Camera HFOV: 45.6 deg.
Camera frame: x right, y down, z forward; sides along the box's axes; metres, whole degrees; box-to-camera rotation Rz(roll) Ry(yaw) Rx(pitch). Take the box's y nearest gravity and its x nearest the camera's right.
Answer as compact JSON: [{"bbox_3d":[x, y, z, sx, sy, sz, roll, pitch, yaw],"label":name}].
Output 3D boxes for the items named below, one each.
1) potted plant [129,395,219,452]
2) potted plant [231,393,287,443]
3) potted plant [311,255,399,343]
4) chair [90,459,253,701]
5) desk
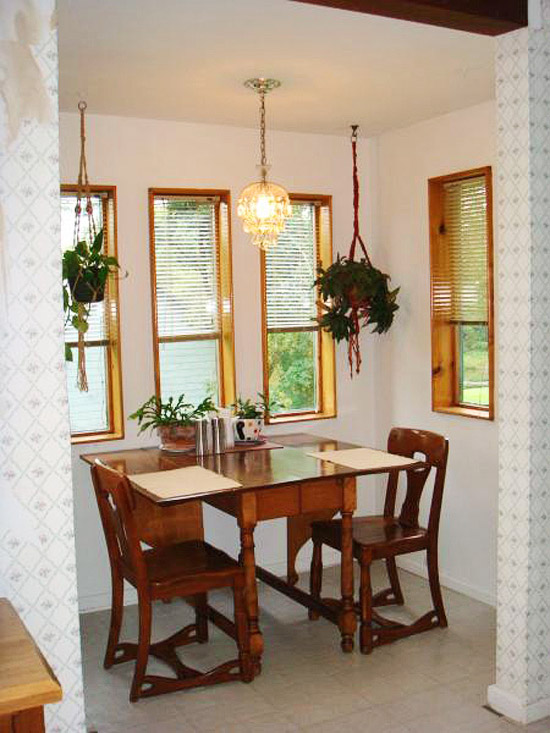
[{"bbox_3d":[-0.538,0.259,3.529,0.362,0.222,0.357,0,0,-42],"label":"potted plant"},{"bbox_3d":[-0.119,0.290,3.628,0.242,0.228,0.233,-5,-12,24],"label":"potted plant"},{"bbox_3d":[0.479,-0.406,4.011,0.571,0.522,0.538,-3,4,40],"label":"potted plant"},{"bbox_3d":[-0.457,0.864,2.807,0.620,0.979,0.735,-1,0,-21],"label":"chair"},{"bbox_3d":[-0.134,0.932,3.257,1.282,0.801,1.396,4,-9,-41],"label":"desk"}]
